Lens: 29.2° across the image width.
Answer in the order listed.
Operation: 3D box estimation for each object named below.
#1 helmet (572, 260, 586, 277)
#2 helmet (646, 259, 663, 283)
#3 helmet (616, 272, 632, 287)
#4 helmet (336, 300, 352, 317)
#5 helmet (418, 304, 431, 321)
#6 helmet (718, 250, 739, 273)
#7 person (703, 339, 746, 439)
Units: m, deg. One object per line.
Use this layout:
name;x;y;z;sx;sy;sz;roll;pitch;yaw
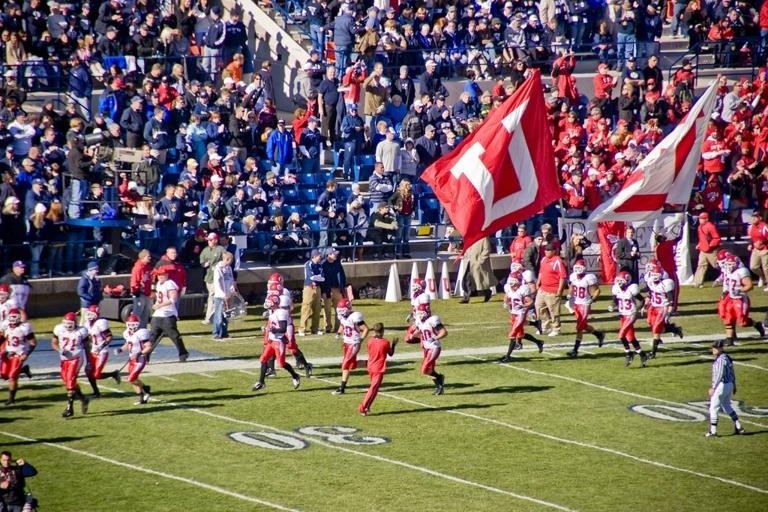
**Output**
helmet;5.281;0.355;39.972;0.315;0.431;0.350;0;-2;4
helmet;7.219;0.423;39.264;0.486;0.555;0.597;0;-2;-11
helmet;6.389;0.669;39.239;0.403;0.351;0.318;5;0;-11
helmet;-0.960;1.346;36.658;0.354;0.431;0.663;0;-2;-2
helmet;1.001;1.422;36.433;0.312;0.406;0.216;0;-2;-13
helmet;9.342;0.172;40.245;0.487;0.503;0.610;-28;3;22
person;8.038;3.167;34.716;0.943;2.283;0.753;1;-1;-34
